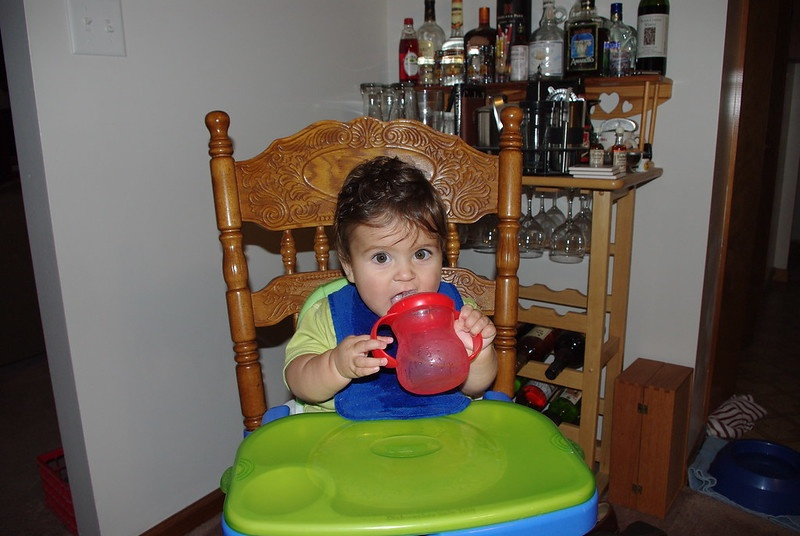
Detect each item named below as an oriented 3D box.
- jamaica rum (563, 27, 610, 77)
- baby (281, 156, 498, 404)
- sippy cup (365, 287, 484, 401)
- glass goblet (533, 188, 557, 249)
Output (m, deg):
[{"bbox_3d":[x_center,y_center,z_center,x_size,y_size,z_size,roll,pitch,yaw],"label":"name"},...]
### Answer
[{"bbox_3d":[0.764,-0.902,2.452,0.165,0.278,0.160,4,5,37],"label":"jamaica rum"},{"bbox_3d":[0.011,0.072,1.706,0.447,0.719,0.483,6,19,-43],"label":"baby"},{"bbox_3d":[0.066,0.183,1.418,0.275,0.284,0.190,-3,11,-11],"label":"sippy cup"},{"bbox_3d":[0.622,-0.224,2.604,0.104,0.258,0.107,-3,16,7],"label":"glass goblet"}]
